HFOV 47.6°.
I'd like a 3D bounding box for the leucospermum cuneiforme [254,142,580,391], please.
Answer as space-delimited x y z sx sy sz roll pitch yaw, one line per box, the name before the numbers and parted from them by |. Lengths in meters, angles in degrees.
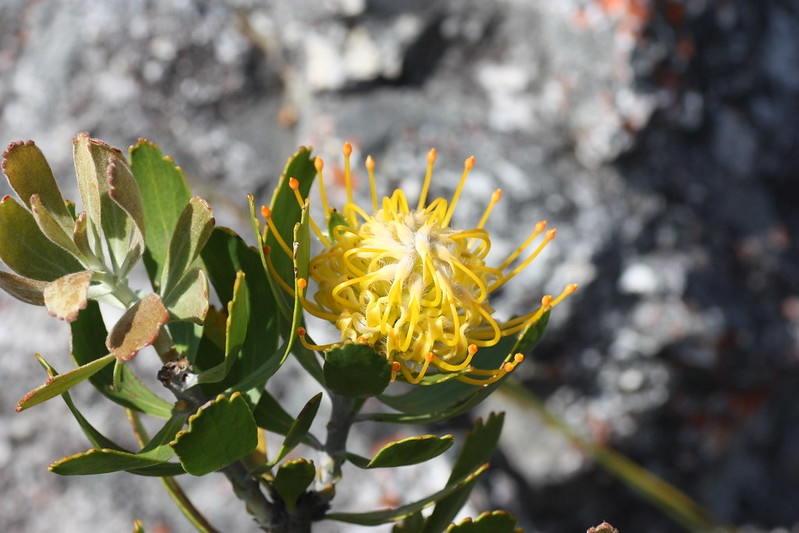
leucospermum cuneiforme | 0.027 0.038 1.909 0.544 0.275 0.564 -6 45 -33
